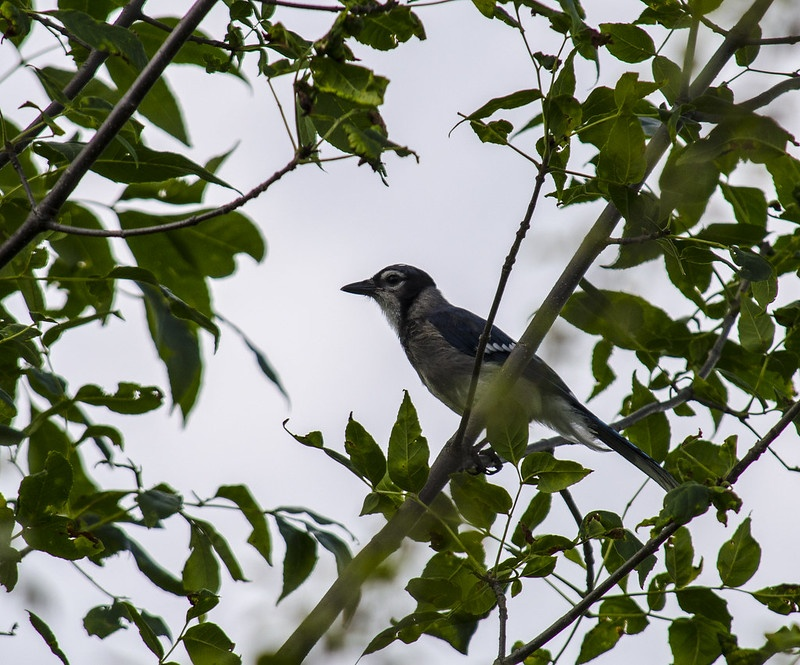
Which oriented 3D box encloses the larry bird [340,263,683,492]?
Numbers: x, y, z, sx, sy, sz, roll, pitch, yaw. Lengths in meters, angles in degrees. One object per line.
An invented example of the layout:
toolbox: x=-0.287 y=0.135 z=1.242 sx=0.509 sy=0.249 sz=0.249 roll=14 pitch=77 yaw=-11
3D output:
larry bird: x=0.681 y=0.258 z=7.831 sx=2.062 sy=1.292 sz=0.698 roll=5 pitch=-26 yaw=-5
